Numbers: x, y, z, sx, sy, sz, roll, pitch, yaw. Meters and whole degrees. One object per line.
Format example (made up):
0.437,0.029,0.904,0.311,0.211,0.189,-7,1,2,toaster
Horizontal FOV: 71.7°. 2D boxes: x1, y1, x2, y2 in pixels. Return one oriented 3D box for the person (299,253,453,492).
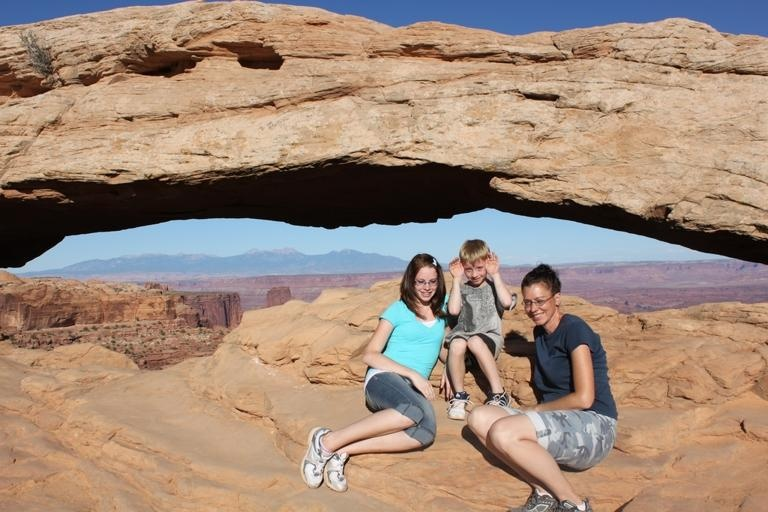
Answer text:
-0.012,1.284,6.131,1.534,2.609,0.679,0,-10,1,person
